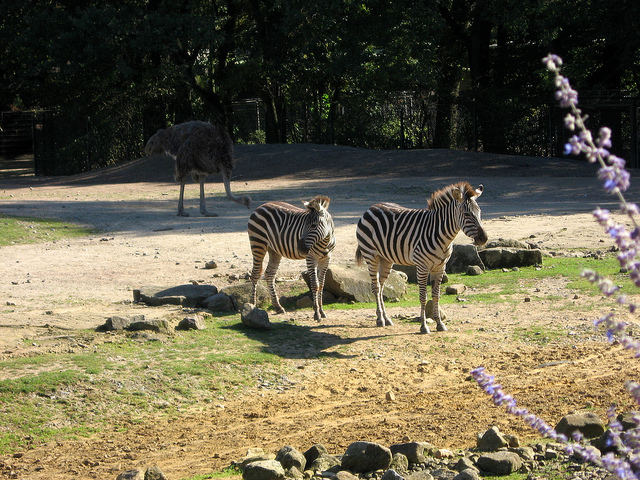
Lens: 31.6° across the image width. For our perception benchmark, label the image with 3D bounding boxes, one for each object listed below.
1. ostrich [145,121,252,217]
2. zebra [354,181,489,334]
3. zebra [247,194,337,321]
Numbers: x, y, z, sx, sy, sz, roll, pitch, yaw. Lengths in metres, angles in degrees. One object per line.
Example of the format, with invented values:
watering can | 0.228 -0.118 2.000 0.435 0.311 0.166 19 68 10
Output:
ostrich | -3.559 -2.089 33.692 2.742 3.012 2.853 0 16 -19
zebra | 2.039 0.397 24.487 1.070 3.156 3.886 -6 6 -43
zebra | -0.639 0.429 24.911 1.935 2.679 0.932 1 6 40
